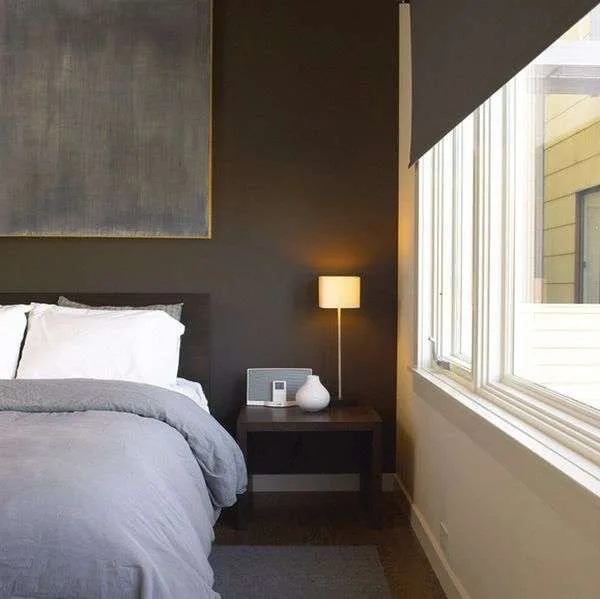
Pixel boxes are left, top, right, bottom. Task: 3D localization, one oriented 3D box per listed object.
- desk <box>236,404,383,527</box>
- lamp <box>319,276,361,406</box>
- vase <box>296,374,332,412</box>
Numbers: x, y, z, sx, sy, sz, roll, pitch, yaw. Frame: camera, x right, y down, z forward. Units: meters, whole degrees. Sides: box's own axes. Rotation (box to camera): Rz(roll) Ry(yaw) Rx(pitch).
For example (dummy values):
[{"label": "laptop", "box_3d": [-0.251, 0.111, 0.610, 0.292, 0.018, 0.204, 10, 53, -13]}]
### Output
[{"label": "desk", "box_3d": [0.054, 0.940, 3.272, 0.635, 0.605, 0.572, -1, -13, 0]}, {"label": "lamp", "box_3d": [0.210, 0.212, 3.369, 0.239, 0.681, 0.304, 0, 6, 6]}, {"label": "vase", "box_3d": [0.067, 0.469, 3.165, 0.140, 0.177, 0.162, 0, -3, -9]}]
